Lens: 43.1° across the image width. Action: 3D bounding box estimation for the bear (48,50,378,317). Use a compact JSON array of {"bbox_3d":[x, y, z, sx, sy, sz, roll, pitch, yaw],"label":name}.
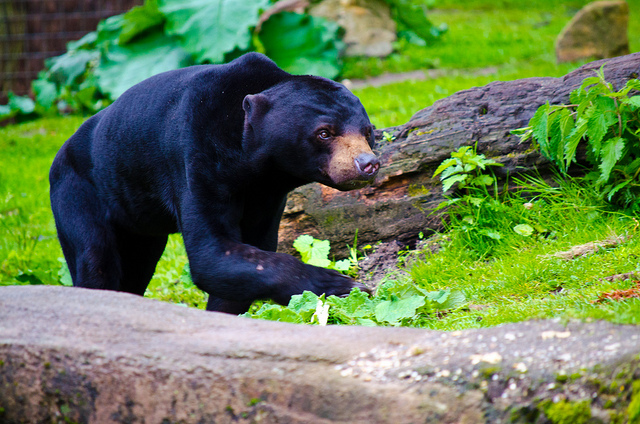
[{"bbox_3d":[-0.888,-0.046,6.447,3.401,1.822,1.128,-4,-6,43],"label":"bear"}]
